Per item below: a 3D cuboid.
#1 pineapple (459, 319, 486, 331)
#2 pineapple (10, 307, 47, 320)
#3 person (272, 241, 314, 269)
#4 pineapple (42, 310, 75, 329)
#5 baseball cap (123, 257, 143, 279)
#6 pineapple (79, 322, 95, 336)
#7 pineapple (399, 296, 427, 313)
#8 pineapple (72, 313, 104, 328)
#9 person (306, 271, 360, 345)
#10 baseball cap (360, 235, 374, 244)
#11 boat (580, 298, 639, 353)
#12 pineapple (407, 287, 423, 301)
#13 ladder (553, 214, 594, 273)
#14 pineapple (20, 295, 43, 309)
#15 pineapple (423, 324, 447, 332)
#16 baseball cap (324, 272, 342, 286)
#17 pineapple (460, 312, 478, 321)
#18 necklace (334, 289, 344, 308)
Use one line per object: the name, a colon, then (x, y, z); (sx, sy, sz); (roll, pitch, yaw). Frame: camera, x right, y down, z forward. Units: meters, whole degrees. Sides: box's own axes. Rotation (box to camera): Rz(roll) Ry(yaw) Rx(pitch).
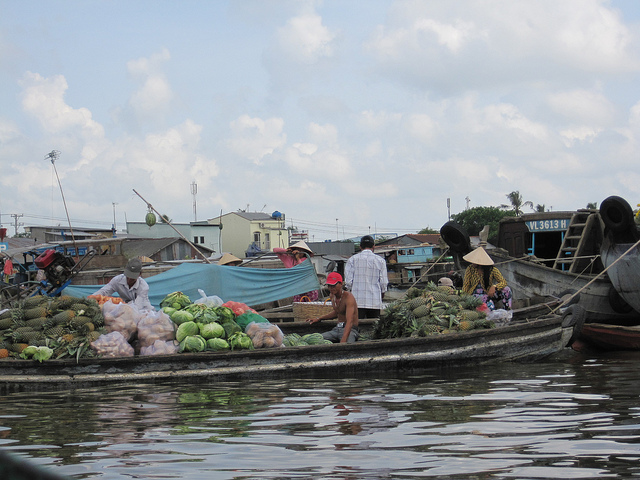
pineapple: (2.394, 1.333, 12.112); (0.527, 0.166, 0.158); (-7, -3, -29)
pineapple: (-4.295, 1.059, 11.027); (0.549, 0.187, 0.181); (-4, -14, 0)
person: (-0.626, 0.363, 18.112); (0.753, 0.363, 0.722); (1, -7, -10)
pineapple: (-3.792, 1.139, 10.900); (0.454, 0.246, 0.124); (0, 5, -5)
baseball cap: (-2.875, 0.432, 11.611); (0.216, 0.350, 0.122); (7, -22, 0)
pineapple: (-3.355, 1.261, 10.817); (0.135, 0.145, 0.189); (-4, -4, 15)
pineapple: (1.497, 1.047, 12.333); (0.352, 0.219, 0.120); (-23, -38, -8)
pineapple: (-3.365, 1.148, 10.869); (0.318, 0.184, 0.198); (0, -17, -9)
person: (0.279, 1.124, 11.933); (0.675, 1.173, 0.954); (-5, 4, -20)
baseball cap: (0.695, -0.011, 11.503); (0.157, 0.119, 0.259); (3, 6, 5)
boat: (5.753, 1.597, 15.172); (1.051, 0.850, 2.832); (2, 5, 19)
pineapple: (1.580, 0.906, 12.866); (0.176, 0.186, 0.105); (-7, 14, -9)
ladder: (5.834, -0.064, 17.544); (0.649, 1.737, 0.705); (-4, -1, -25)
pineapple: (-4.272, 0.906, 11.143); (0.293, 0.148, 0.108); (-8, 41, -28)
pineapple: (1.787, 1.389, 11.975); (0.321, 0.105, 0.112); (0, 5, 3)
baseball cap: (0.195, 0.585, 11.768); (0.224, 0.191, 0.282); (1, 5, 7)
pineapple: (2.374, 1.224, 12.155); (0.248, 0.087, 0.126); (-4, -6, 4)
necklace: (0.277, 0.910, 11.998); (0.216, 0.300, 0.071); (10, 10, 39)
